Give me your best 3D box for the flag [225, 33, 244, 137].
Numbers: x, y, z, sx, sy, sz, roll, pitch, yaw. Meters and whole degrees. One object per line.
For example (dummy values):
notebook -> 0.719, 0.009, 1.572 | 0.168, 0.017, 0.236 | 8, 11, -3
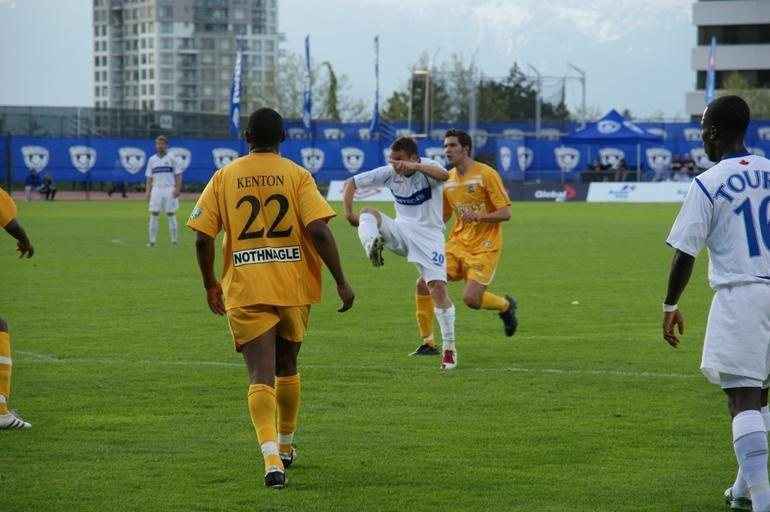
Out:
flag -> -6.777, -7.867, 73.991 | 0.386, 4.439, 0.806 | 1, 8, -24

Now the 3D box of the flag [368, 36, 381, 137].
flag -> -0.346, -8.049, 77.177 | 0.395, 5.192, 0.883 | 4, 1, 15
